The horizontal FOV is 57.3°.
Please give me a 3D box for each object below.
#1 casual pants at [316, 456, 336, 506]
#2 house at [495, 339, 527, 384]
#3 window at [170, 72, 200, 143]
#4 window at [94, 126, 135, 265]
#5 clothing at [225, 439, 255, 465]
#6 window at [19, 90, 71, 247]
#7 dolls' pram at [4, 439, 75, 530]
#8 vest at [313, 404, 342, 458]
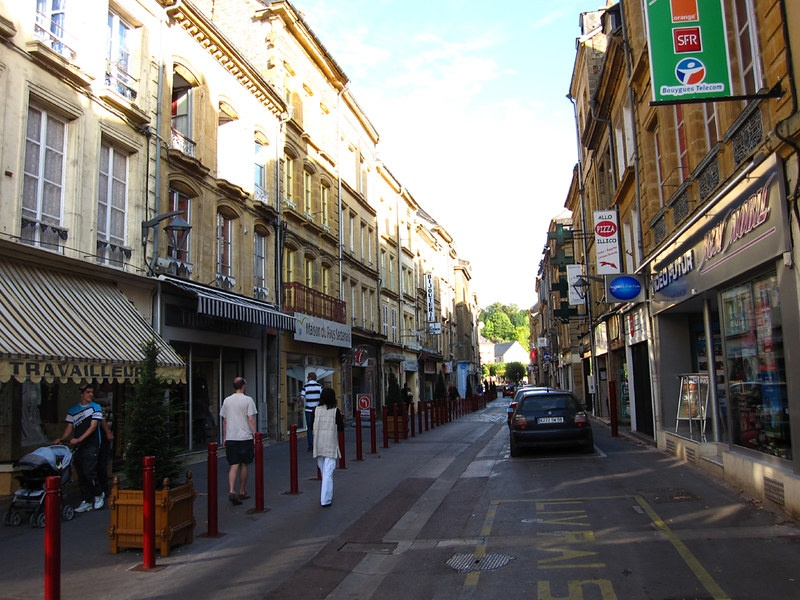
[{"bbox_3d":[-1.267,3.163,12.834,0.282,0.836,0.811,-2,-13,-7],"label":"casual pants"},{"bbox_3d":[25.668,14.650,169.301,4.464,5.880,8.685,0,-1,-19],"label":"house"},{"bbox_3d":[-5.896,-5.274,19.912,0.596,1.662,0.435,1,-12,-22],"label":"window"},{"bbox_3d":[-6.577,-2.194,16.824,0.270,2.869,1.108,-5,-11,8],"label":"window"},{"bbox_3d":[-2.777,2.636,12.696,0.531,0.422,0.318,-3,-12,-7],"label":"clothing"},{"bbox_3d":[-7.256,-2.473,15.012,0.246,2.839,1.141,-7,-12,17],"label":"window"},{"bbox_3d":[-5.802,2.984,11.782,0.894,1.298,1.075,-5,-12,6],"label":"dolls' pram"},{"bbox_3d":[-1.287,2.309,12.929,0.464,0.907,0.505,5,-13,-16],"label":"vest"}]
